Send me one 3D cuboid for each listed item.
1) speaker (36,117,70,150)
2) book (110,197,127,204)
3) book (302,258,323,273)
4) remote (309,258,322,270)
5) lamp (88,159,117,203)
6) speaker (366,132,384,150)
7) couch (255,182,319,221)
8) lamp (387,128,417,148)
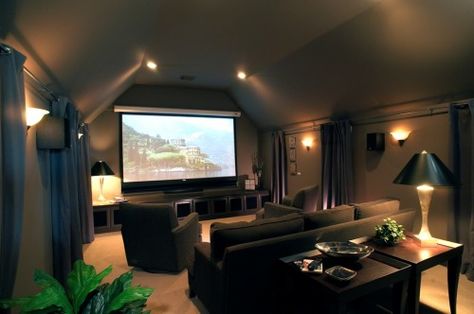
[{"bbox_3d":[-2.245,-0.292,4.237,0.407,0.383,0.217,-1,1,11],"label":"speaker"},{"bbox_3d":[-2.388,0.886,6.854,0.229,0.069,0.228,0,0,24],"label":"book"},{"bbox_3d":[0.818,1.189,3.666,0.224,0.114,0.188,-3,-3,14],"label":"book"},{"bbox_3d":[0.848,1.162,3.651,0.063,0.045,0.196,6,8,42],"label":"remote"},{"bbox_3d":[-2.718,0.475,6.884,0.420,0.846,0.657,-1,-3,-21],"label":"lamp"},{"bbox_3d":[2.401,-0.275,5.853,0.206,0.367,0.263,6,-12,-20],"label":"speaker"},{"bbox_3d":[0.927,0.790,5.858,0.785,0.828,0.834,2,-4,-40],"label":"couch"},{"bbox_3d":[2.711,-0.322,5.618,0.284,0.194,0.281,0,-3,1],"label":"lamp"}]
